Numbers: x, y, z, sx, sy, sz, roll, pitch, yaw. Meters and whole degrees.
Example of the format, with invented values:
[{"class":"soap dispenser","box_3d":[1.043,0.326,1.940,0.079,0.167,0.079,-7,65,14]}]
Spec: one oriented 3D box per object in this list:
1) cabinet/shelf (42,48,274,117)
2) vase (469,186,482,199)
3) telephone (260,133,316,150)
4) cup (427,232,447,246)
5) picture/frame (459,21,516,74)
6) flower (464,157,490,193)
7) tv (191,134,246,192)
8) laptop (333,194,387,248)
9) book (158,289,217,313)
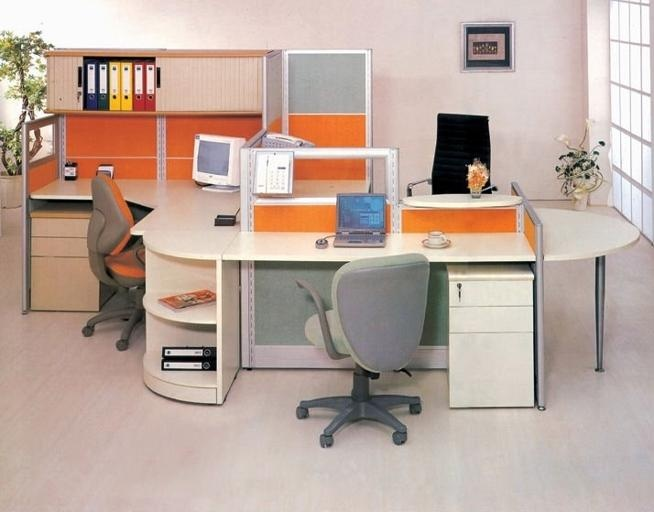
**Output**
[{"class":"cabinet/shelf","box_3d":[-1.380,-1.412,4.949,1.709,0.512,0.181,-2,12,-3]},{"class":"vase","box_3d":[0.917,-0.385,3.731,0.071,0.078,0.061,1,9,-2]},{"class":"telephone","box_3d":[-0.312,-0.827,4.410,0.279,0.082,0.234,-1,14,-5]},{"class":"cup","box_3d":[0.607,-0.095,3.372,0.090,0.065,0.068,-2,10,-8]},{"class":"picture/frame","box_3d":[1.954,-2.578,7.423,0.507,0.491,0.040,0,6,-1]},{"class":"flower","box_3d":[0.940,-0.492,3.792,0.122,0.219,0.310,2,14,14]},{"class":"tv","box_3d":[-0.869,-0.727,4.825,0.481,0.526,0.303,5,8,21]},{"class":"laptop","box_3d":[0.188,-0.219,3.543,0.340,0.361,0.284,1,8,3]},{"class":"book","box_3d":[-0.820,0.254,3.569,0.333,0.032,0.254,-9,16,-29]}]
